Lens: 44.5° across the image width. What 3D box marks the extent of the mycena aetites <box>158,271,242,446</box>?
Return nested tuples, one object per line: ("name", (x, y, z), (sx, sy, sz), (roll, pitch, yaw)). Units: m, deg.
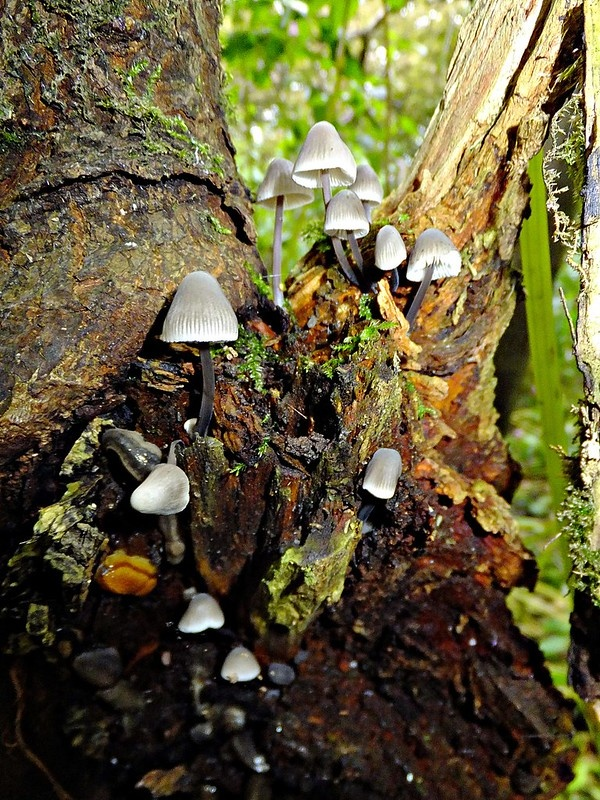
("mycena aetites", (-0.493, -0.197, 3.467), (0.378, 0.764, 0.391), (19, 36, -10))
